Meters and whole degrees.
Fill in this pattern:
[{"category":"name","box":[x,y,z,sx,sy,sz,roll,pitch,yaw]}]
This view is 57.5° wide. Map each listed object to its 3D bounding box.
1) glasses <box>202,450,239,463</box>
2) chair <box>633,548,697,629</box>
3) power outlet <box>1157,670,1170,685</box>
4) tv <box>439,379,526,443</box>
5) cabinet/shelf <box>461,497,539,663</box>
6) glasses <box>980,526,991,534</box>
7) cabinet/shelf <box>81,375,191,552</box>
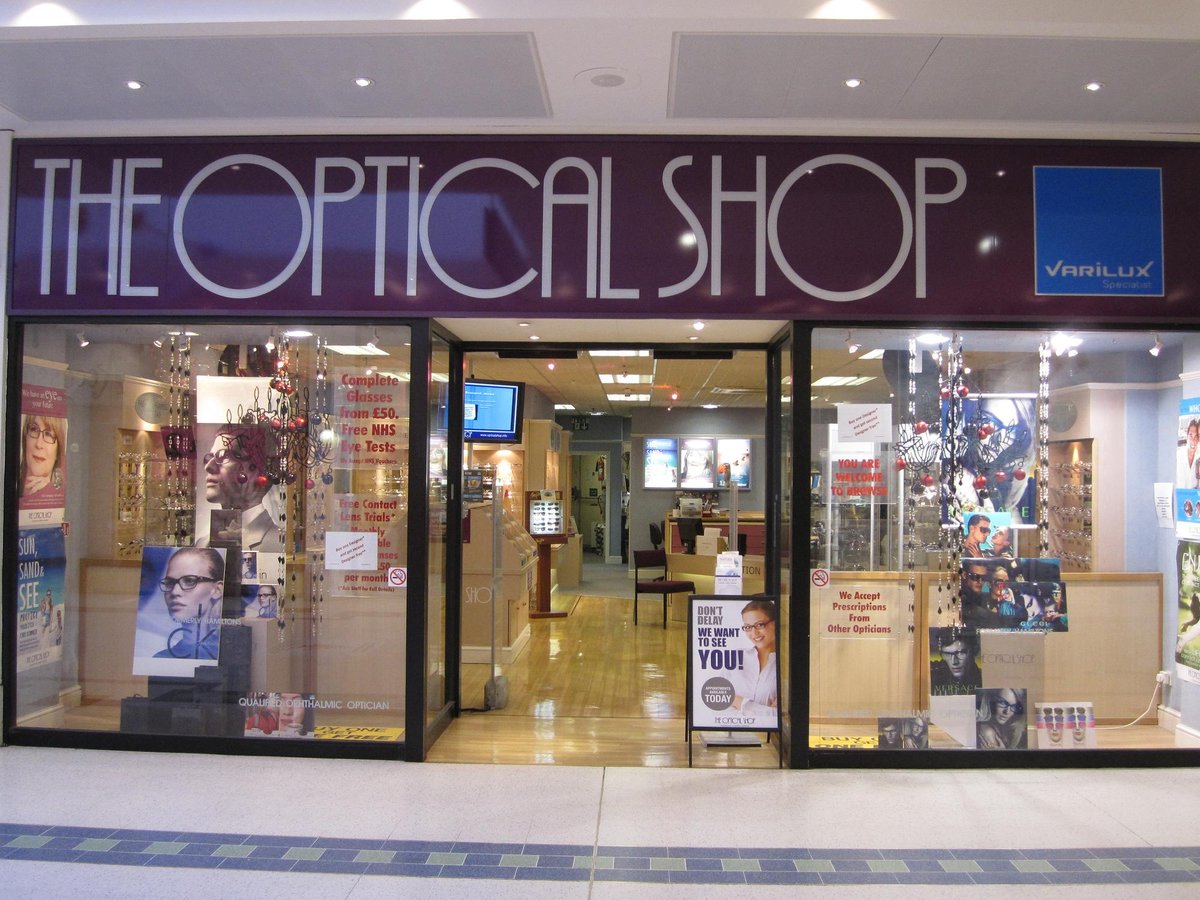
[{"category":"glasses","box":[-2.567,0.033,7.404,0.116,0.039,0.122,-1,23,-4]},{"category":"chair","box":[0.657,1.606,12.731,0.607,0.873,0.644,-7,-14,39]},{"category":"power outlet","box":[3.726,1.491,7.230,0.112,0.099,0.058,0,-6,6]},{"category":"tv","box":[-0.948,-0.331,9.361,0.288,0.641,1.044,4,15,14]},{"category":"cabinet/shelf","box":[-0.925,1.199,9.829,0.532,1.062,1.536,-1,-1,-2]},{"category":"glasses","box":[2.554,0.527,7.264,0.031,0.036,0.036,5,10,35]},{"category":"cabinet/shelf","box":[-3.103,0.092,7.385,0.775,1.219,0.295,2,13,8]}]
